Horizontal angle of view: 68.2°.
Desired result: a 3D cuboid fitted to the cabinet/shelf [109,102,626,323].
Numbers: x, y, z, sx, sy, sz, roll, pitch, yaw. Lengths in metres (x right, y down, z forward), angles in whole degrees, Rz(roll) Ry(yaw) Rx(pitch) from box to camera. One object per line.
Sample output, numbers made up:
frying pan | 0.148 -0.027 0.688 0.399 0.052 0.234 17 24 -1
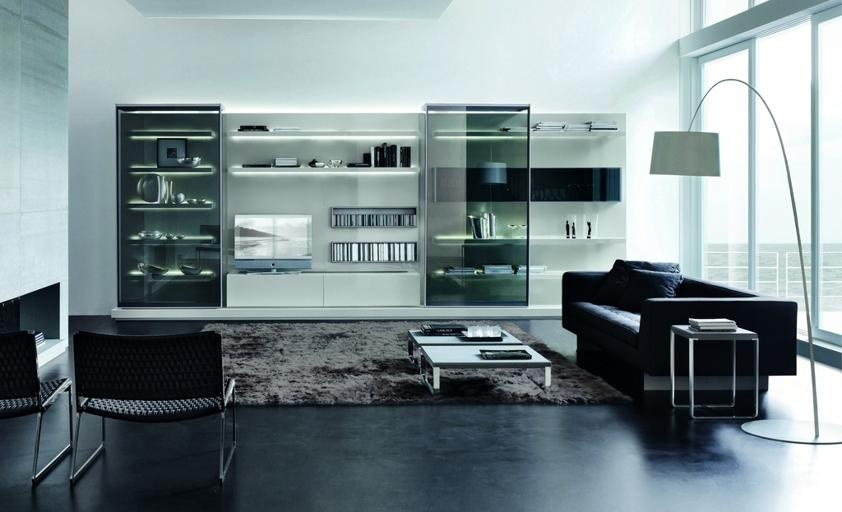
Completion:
cabinet/shelf | -0.618 -0.478 9.725 7.258 2.723 0.796 -2 0 13

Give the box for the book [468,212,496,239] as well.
book | 0.810 -0.444 9.269 0.504 0.373 0.333 -1 3 -11

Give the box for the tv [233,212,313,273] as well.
tv | -2.239 -0.186 9.288 1.188 0.665 0.271 0 1 -5

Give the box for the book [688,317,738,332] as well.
book | 2.754 0.653 5.900 0.413 0.110 0.203 -1 2 7

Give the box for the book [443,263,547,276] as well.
book | 0.888 0.209 9.165 1.295 0.157 0.194 -1 2 8

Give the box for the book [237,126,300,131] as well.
book | -2.237 -1.868 9.154 0.875 0.096 0.110 -1 2 -5

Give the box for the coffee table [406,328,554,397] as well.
coffee table | 0.551 1.107 6.529 1.556 0.489 1.028 -1 2 10

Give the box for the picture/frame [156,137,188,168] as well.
picture/frame | -3.606 -1.509 8.963 0.578 0.463 0.035 0 8 -5
